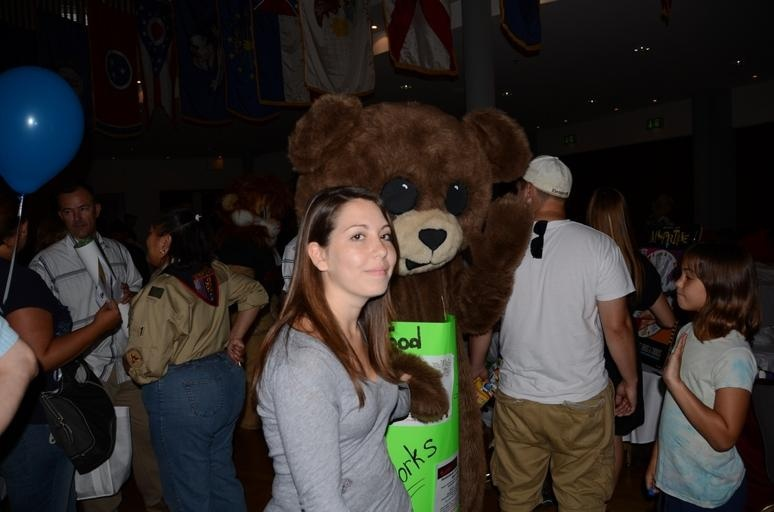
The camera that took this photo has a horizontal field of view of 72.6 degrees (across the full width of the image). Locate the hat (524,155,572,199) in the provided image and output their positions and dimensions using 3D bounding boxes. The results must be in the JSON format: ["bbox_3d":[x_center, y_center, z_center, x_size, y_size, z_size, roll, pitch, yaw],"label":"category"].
[{"bbox_3d":[1.157,-0.598,3.617,0.239,0.193,0.349,4,41,-14],"label":"hat"}]

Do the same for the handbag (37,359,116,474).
[{"bbox_3d":[-1.936,0.991,3.369,0.241,0.727,0.409,-6,15,8],"label":"handbag"}]
